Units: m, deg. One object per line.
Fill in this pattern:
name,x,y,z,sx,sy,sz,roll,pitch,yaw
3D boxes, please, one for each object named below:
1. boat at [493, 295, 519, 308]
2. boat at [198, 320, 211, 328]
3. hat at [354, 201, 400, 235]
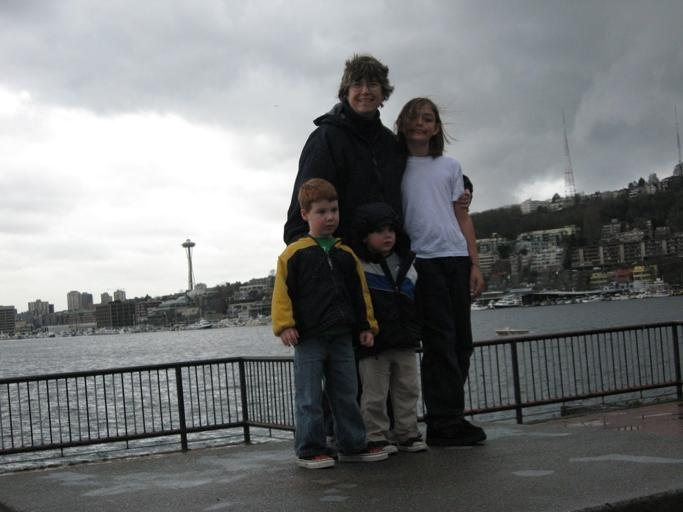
boat,38.383,10.168,143.715,5.678,2.319,15.886,-5,-5,15
boat,-48.157,24.082,222.222,4.835,3.454,2.674,-8,-6,37
hat,0.292,-0.339,5.503,0.315,0.221,0.301,-2,-2,13
